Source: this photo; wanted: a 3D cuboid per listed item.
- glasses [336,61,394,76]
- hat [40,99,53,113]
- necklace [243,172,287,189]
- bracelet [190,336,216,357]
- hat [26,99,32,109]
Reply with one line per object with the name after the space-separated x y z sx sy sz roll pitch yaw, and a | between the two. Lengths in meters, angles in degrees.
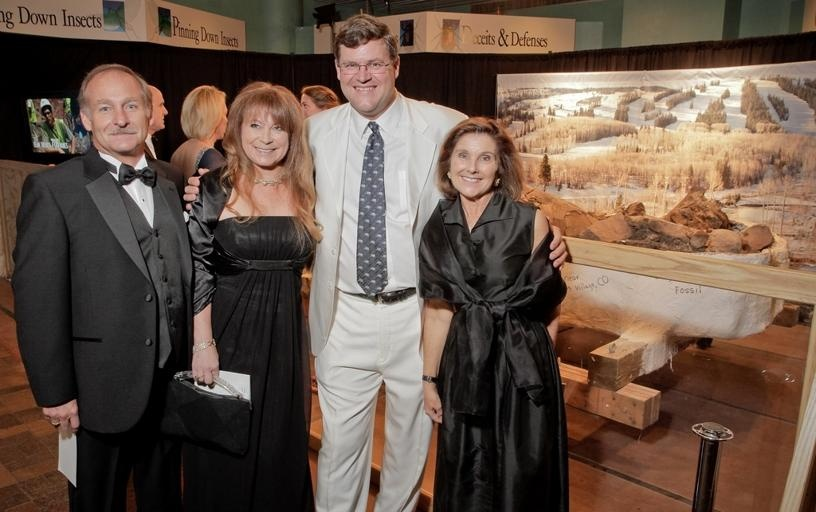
-0.225 -1.008 2.727 0.267 0.067 0.069 -3 16 -5 | glasses
-5.237 -2.196 7.374 0.151 0.173 0.194 -7 16 -18 | hat
-0.767 -0.411 2.768 0.192 0.059 0.038 -5 16 -11 | necklace
-1.070 0.468 2.672 0.085 0.040 0.073 -20 11 32 | bracelet
-5.537 -2.243 7.496 0.101 0.138 0.035 1 9 14 | hat
